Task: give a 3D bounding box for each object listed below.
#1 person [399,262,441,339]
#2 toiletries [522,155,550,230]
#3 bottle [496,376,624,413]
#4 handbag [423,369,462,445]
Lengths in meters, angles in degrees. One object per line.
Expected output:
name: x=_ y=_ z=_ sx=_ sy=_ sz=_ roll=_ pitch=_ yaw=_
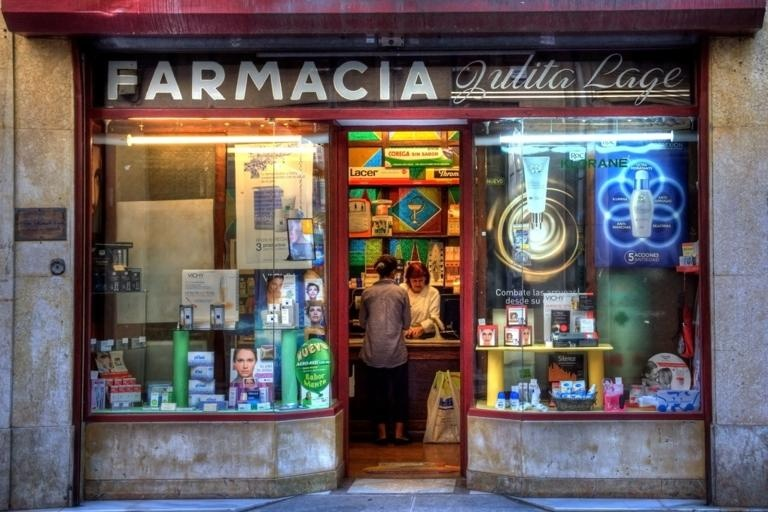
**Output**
person: x=0.438 y=0.511 z=12.224 sx=0.486 sy=0.803 sz=0.406 roll=2 pitch=8 yaw=9
toiletries: x=1.501 y=-0.625 z=10.128 sx=0.255 sy=0.715 sz=0.116 roll=-2 pitch=-5 yaw=8
bottle: x=1.698 y=1.328 z=10.009 sx=1.212 sy=0.299 sz=0.166 roll=-1 pitch=-4 yaw=5
handbag: x=0.664 y=1.667 z=11.535 sx=0.375 sy=0.753 sz=0.416 roll=0 pitch=5 yaw=12
